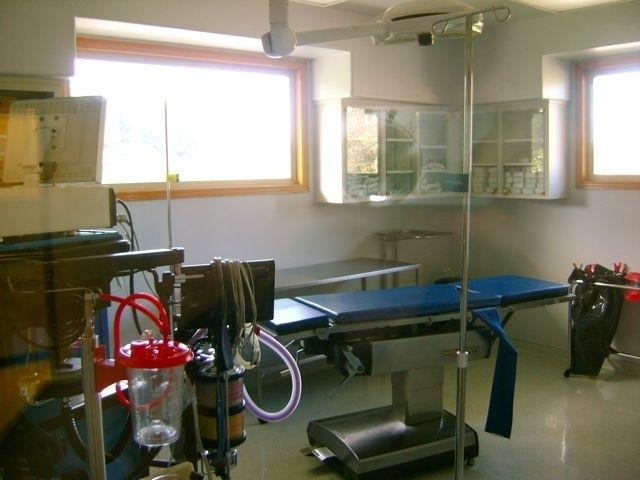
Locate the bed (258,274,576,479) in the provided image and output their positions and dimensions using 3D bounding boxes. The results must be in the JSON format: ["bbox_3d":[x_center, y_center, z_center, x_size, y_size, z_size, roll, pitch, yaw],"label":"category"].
[{"bbox_3d":[0.564,0.534,2.380,1.514,0.881,0.541,-2,5,-29],"label":"bed"}]

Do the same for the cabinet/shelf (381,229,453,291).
[{"bbox_3d":[0.401,0.069,2.055,0.260,0.266,0.171,2,3,41],"label":"cabinet/shelf"}]
